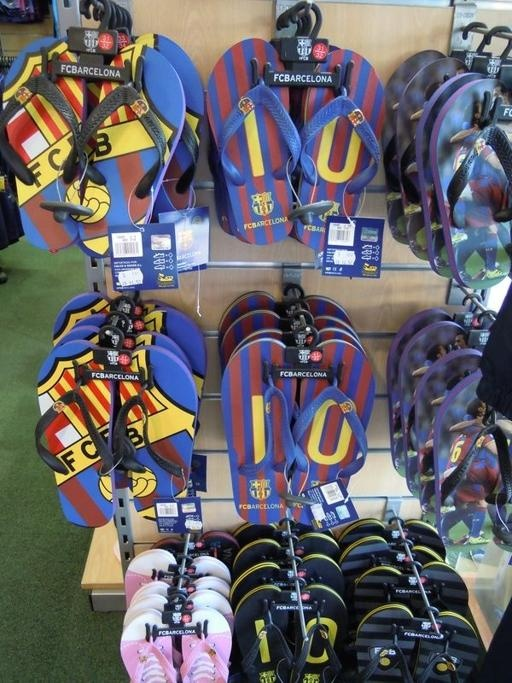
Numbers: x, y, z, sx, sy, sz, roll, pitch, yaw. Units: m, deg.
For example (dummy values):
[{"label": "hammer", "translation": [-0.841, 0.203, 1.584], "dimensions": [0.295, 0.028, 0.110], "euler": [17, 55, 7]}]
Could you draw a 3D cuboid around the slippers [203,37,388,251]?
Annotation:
[{"label": "slippers", "translation": [0.064, -0.403, 1.034], "dimensions": [0.350, 0.425, 0.103], "euler": [2, 22, -3]}]

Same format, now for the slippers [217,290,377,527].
[{"label": "slippers", "translation": [0.094, 0.173, 1.314], "dimensions": [0.363, 0.576, 0.297], "euler": [-3, 24, -5]}]

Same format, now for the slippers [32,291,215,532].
[{"label": "slippers", "translation": [-0.313, 0.184, 1.276], "dimensions": [0.384, 0.595, 0.320], "euler": [-3, 24, -6]}]

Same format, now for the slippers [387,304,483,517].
[{"label": "slippers", "translation": [0.411, 0.158, 1.280], "dimensions": [0.227, 0.478, 0.053], "euler": [3, 16, 7]}]
